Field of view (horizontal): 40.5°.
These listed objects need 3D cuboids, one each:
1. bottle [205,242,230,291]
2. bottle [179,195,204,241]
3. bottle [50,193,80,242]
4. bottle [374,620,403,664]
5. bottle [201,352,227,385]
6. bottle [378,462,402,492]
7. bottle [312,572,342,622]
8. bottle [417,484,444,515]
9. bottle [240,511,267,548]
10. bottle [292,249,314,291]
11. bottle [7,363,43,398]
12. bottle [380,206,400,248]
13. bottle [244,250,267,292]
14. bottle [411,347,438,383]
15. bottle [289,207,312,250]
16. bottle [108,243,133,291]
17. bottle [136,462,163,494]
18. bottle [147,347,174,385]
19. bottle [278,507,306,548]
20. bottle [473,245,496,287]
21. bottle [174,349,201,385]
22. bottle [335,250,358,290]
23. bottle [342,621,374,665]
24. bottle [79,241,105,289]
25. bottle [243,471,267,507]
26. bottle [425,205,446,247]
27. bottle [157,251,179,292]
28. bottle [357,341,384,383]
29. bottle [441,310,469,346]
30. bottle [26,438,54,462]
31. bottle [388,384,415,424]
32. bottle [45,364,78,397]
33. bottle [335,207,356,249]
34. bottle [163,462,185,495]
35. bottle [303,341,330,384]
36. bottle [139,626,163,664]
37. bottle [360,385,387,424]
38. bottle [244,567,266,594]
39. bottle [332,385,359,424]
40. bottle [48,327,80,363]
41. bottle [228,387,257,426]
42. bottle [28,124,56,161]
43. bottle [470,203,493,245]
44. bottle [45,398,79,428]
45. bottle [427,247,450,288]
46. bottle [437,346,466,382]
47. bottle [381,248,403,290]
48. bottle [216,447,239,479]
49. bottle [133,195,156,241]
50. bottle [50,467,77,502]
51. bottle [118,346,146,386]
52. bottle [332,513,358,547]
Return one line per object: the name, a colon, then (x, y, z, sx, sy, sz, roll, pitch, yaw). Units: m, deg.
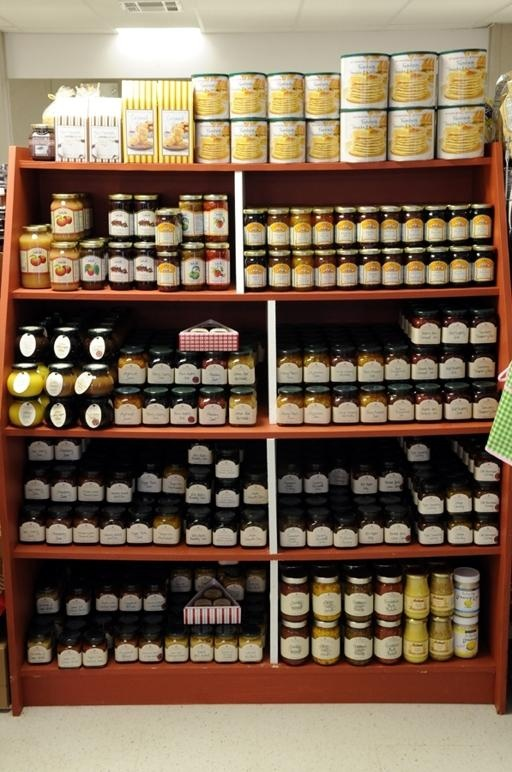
bottle: (-0.119, -0.376, 2.176, 0.071, 0.144, 0.060, -1, 6, -6)
bottle: (-0.202, -0.533, 2.190, 0.073, 0.145, 0.049, -1, 6, -4)
bottle: (-0.607, -0.540, 2.230, 0.101, 0.151, 0.140, -2, 7, -16)
bottle: (0.446, 0.850, 2.329, 0.096, 0.153, 0.048, 1, 6, 9)
bottle: (-0.133, -0.055, 2.297, 0.098, 0.126, 0.090, -1, 5, 0)
bottle: (0.470, 0.319, 2.460, 0.103, 0.108, 0.081, -1, 6, 5)
bottle: (0.238, 0.696, 2.320, 0.103, 0.169, 0.066, 0, 6, 2)
bottle: (0.578, 0.373, 2.342, 0.095, 0.124, 0.094, -2, 7, 0)
bottle: (-0.011, 0.473, 2.307, 0.094, 0.120, 0.079, 5, 8, 38)
bottle: (0.148, -0.365, 2.183, 0.074, 0.124, 0.053, 0, 6, 3)
bottle: (-0.720, -0.023, 2.197, 0.107, 0.097, 0.106, 1, 9, 3)
bottle: (0.429, -0.505, 2.189, 0.073, 0.122, 0.046, -1, 6, -6)
bottle: (-0.002, -0.361, 2.170, 0.070, 0.120, 0.039, -1, 6, -8)
bottle: (0.549, -0.074, 2.315, 0.100, 0.133, 0.099, -1, 6, 0)
bottle: (0.142, -0.493, 2.174, 0.067, 0.124, 0.035, 0, 6, 1)
bottle: (-0.426, -0.380, 2.187, 0.075, 0.148, 0.049, -2, 6, -12)
bottle: (-0.377, 0.327, 2.451, 0.094, 0.127, 0.070, 2, 7, 6)
bottle: (-0.308, -0.068, 2.249, 0.112, 0.148, 0.106, 0, 10, 0)
bottle: (0.120, 0.472, 2.373, 0.115, 0.148, 0.110, -1, 6, 0)
bottle: (0.715, -0.378, 2.171, 0.072, 0.121, 0.044, 1, 6, 15)
bottle: (-0.219, -0.061, 2.310, 0.098, 0.130, 0.097, -1, 5, 0)
bottle: (0.284, -0.367, 2.179, 0.062, 0.124, 0.035, 0, 6, 7)
bottle: (0.345, 0.853, 2.322, 0.096, 0.156, 0.053, 1, 6, 9)
bottle: (-0.520, -0.380, 2.188, 0.080, 0.148, 0.067, -1, 6, -4)
bottle: (0.001, 0.348, 2.342, 0.108, 0.115, 0.085, -1, 5, 4)
bottle: (0.571, -0.511, 2.201, 0.069, 0.117, 0.052, 1, 6, 12)
bottle: (-0.276, -0.360, 2.169, 0.074, 0.127, 0.061, -1, 6, -8)
bottle: (0.373, -0.073, 2.252, 0.078, 0.131, 0.073, 0, 6, 0)
bottle: (0.635, -0.188, 2.267, 0.102, 0.136, 0.098, -1, 8, 0)
bottle: (-0.725, 0.215, 2.323, 0.077, 0.069, 0.076, 1, 6, 3)
bottle: (0.465, 0.056, 2.219, 0.113, 0.150, 0.107, 0, 3, 0)
bottle: (-0.617, -0.017, 2.197, 0.098, 0.107, 0.085, -2, 6, -14)
bottle: (0.284, -0.502, 2.186, 0.065, 0.122, 0.040, 0, 6, 6)
bottle: (-0.284, 0.328, 2.490, 0.093, 0.128, 0.095, 0, 5, 0)
bottle: (0.194, -0.071, 2.240, 0.082, 0.135, 0.072, 1, 6, 16)
bottle: (-0.350, 0.867, 2.308, 0.081, 0.126, 0.050, -1, 6, -10)
bottle: (0.380, 0.055, 2.287, 0.111, 0.143, 0.108, -1, 8, 0)
bottle: (0.002, 0.699, 2.518, 0.089, 0.091, 0.069, 0, 7, 10)
bottle: (0.287, 0.055, 2.298, 0.111, 0.147, 0.110, -1, 8, 0)
bottle: (-0.625, -0.138, 2.276, 0.091, 0.115, 0.105, -2, 7, -18)
bottle: (-0.041, 0.063, 2.219, 0.091, 0.124, 0.081, -2, 6, -11)
bottle: (-0.678, -0.769, 2.197, 0.082, 0.111, 0.046, -1, 6, -10)
bottle: (0.712, -0.513, 2.187, 0.068, 0.118, 0.042, 1, 6, 16)
bottle: (-0.613, 0.085, 2.233, 0.093, 0.087, 0.093, -1, 4, 10)
bottle: (0.572, -0.375, 2.176, 0.072, 0.122, 0.042, 1, 6, 10)
bottle: (0.635, -0.072, 2.307, 0.099, 0.132, 0.095, -1, 7, 0)
bottle: (0.433, -0.373, 2.184, 0.069, 0.125, 0.053, 0, 6, -1)
bottle: (-0.096, 0.262, 2.385, 0.094, 0.121, 0.091, -1, 9, 0)
bottle: (-0.354, -0.540, 2.219, 0.073, 0.151, 0.085, -1, 6, -10)
bottle: (-0.647, 0.338, 2.406, 0.107, 0.131, 0.098, 0, 7, 0)
bottle: (-0.403, -0.066, 2.257, 0.093, 0.127, 0.070, -2, 6, -12)
bottle: (0.294, 0.479, 2.339, 0.100, 0.134, 0.100, -1, 7, 0)
